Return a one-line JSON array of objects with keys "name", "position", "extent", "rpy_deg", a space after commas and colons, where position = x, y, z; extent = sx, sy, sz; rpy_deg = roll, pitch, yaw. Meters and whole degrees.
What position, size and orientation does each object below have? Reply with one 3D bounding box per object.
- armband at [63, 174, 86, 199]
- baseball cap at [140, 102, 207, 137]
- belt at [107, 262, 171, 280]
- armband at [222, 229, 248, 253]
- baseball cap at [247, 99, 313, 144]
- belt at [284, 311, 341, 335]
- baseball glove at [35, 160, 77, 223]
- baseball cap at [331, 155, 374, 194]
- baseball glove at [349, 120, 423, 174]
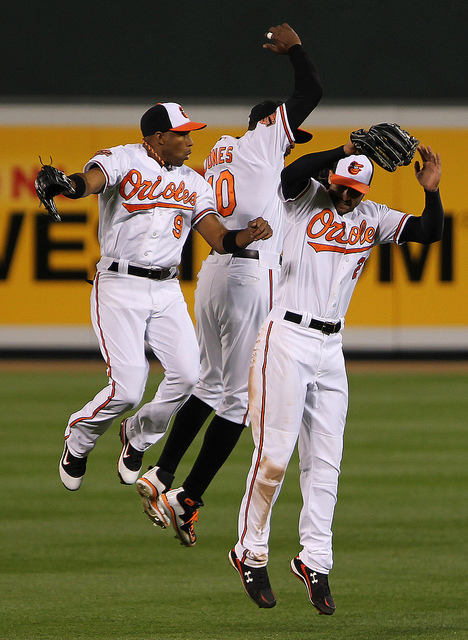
[{"name": "armband", "position": [-0.759, -0.614, 5.592], "extent": [0.103, 0.110, 0.098], "rpy_deg": [-6, -2, -8]}, {"name": "baseball cap", "position": [-0.321, -1.018, 6.123], "extent": [0.289, 0.142, 0.175], "rpy_deg": [-9, 11, 5]}, {"name": "belt", "position": [-0.494, -0.244, 6.100], "extent": [0.314, 0.085, 0.103], "rpy_deg": [0, 6, -7]}, {"name": "armband", "position": [-0.004, -0.365, 5.783], "extent": [0.110, 0.107, 0.098], "rpy_deg": [0, -16, 28]}, {"name": "baseball cap", "position": [0.248, -1.029, 6.243], "extent": [0.367, 0.191, 0.211], "rpy_deg": [-6, 5, -5]}, {"name": "belt", "position": [0.354, 0.021, 5.245], "extent": [0.272, 0.099, 0.075], "rpy_deg": [0, 6, -13]}, {"name": "baseball glove", "position": [-0.846, -0.606, 5.458], "extent": [0.088, 0.223, 0.137], "rpy_deg": [12, -16, 12]}, {"name": "baseball cap", "position": [0.534, -0.673, 5.290], "extent": [0.201, 0.144, 0.261], "rpy_deg": [14, 23, 0]}, {"name": "baseball glove", "position": [0.655, -0.725, 5.261], "extent": [0.286, 0.212, 0.129], "rpy_deg": [37, -33, 0]}]
